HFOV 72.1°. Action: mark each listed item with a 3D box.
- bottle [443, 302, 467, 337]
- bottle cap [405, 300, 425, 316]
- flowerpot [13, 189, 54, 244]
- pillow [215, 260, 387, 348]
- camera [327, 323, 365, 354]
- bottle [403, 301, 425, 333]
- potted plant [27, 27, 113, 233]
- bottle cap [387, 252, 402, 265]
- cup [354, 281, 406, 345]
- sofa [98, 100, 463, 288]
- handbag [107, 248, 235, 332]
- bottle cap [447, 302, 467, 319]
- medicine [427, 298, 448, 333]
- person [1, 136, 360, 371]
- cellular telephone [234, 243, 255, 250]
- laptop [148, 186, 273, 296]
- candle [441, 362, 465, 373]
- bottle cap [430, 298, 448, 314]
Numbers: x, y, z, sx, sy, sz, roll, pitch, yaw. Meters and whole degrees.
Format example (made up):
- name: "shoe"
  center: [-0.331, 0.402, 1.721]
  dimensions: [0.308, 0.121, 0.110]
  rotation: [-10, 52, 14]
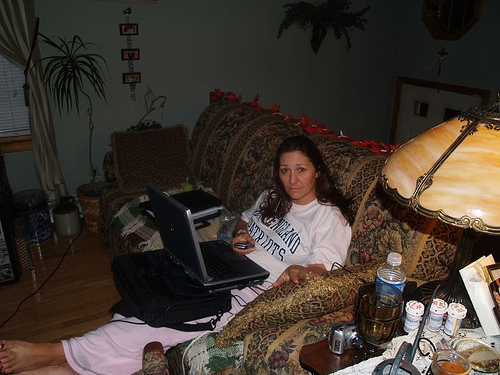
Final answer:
- name: "bottle"
  center: [0.787, 0.503, 1.311]
  dimensions: [0.069, 0.110, 0.071]
  rotation: [-5, 24, 2]
- name: "bottle cap"
  center: [0.645, 0.481, 1.353]
  dimensions: [0.060, 0.045, 0.075]
  rotation: [7, 17, 34]
- name: "flowerpot"
  center: [-2.135, 0.298, 3.370]
  dimensions: [0.357, 0.531, 0.379]
  rotation: [-14, 22, -38]
- name: "pillow"
  center: [0.244, 0.579, 1.653]
  dimensions: [0.824, 0.372, 0.293]
  rotation: [-7, 14, -17]
- name: "camera"
  center: [0.376, 0.576, 1.310]
  dimensions: [0.134, 0.097, 0.074]
  rotation: [-1, 13, -18]
- name: "bottle"
  center: [0.640, 0.522, 1.359]
  dimensions: [0.069, 0.105, 0.072]
  rotation: [6, 6, -1]
- name: "potted plant"
  center: [-1.832, -0.607, 3.721]
  dimensions: [0.708, 2.101, 0.721]
  rotation: [-5, 8, 3]
- name: "bottle cap"
  center: [0.598, 0.295, 1.434]
  dimensions: [0.051, 0.047, 0.063]
  rotation: [2, 14, 18]
- name: "cup"
  center: [0.469, 0.467, 1.264]
  dimensions: [0.167, 0.189, 0.146]
  rotation: [-11, 16, -29]
- name: "sofa"
  center: [-0.029, 0.047, 2.261]
  dimensions: [0.642, 0.737, 1.669]
  rotation: [13, 18, -43]
- name: "handbag"
  center: [-0.342, 0.513, 2.046]
  dimensions: [0.170, 0.534, 0.634]
  rotation: [-25, -36, 16]
- name: "bottle cap"
  center: [0.770, 0.458, 1.291]
  dimensions: [0.056, 0.039, 0.056]
  rotation: [-24, 32, -37]
- name: "medicine"
  center: [0.718, 0.501, 1.341]
  dimensions: [0.071, 0.111, 0.074]
  rotation: [4, 16, 12]
- name: "person"
  center: [-0.307, 0.533, 2.226]
  dimensions: [1.825, 0.926, 1.204]
  rotation: [-14, 42, -6]
- name: "cellular telephone"
  center: [-0.035, 0.357, 2.086]
  dimensions: [0.126, 0.034, 0.053]
  rotation: [-4, 14, -5]
- name: "laptop"
  center: [-0.258, 0.257, 1.996]
  dimensions: [0.649, 0.508, 0.536]
  rotation: [12, 20, 43]
- name: "candle"
  center: [0.654, 0.585, 1.112]
  dimensions: [0.069, 0.013, 0.040]
  rotation: [0, 14, 13]
- name: "bottle cap"
  center: [0.717, 0.454, 1.316]
  dimensions: [0.056, 0.030, 0.060]
  rotation: [-4, 18, -5]
